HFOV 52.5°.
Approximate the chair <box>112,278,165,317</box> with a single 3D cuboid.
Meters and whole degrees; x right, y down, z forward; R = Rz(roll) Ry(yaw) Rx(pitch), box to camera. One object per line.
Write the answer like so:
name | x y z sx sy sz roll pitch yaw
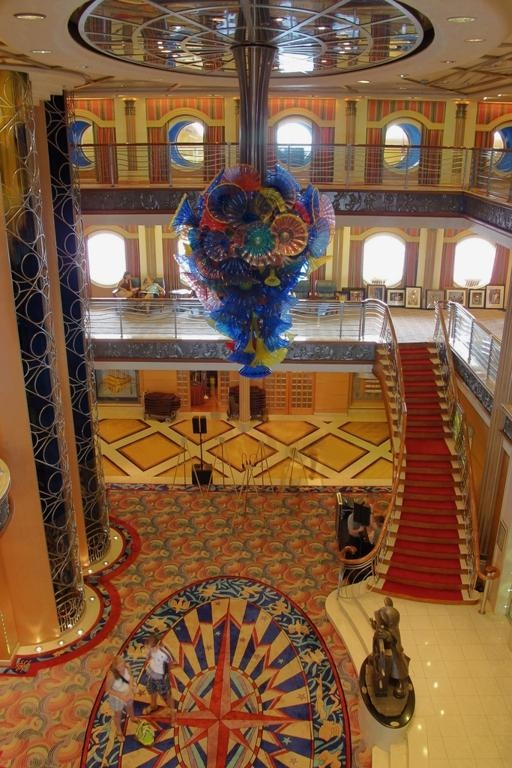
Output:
chair | -2.923 -2.109 12.907 1.301 1.010 0.939 3 36 -1
